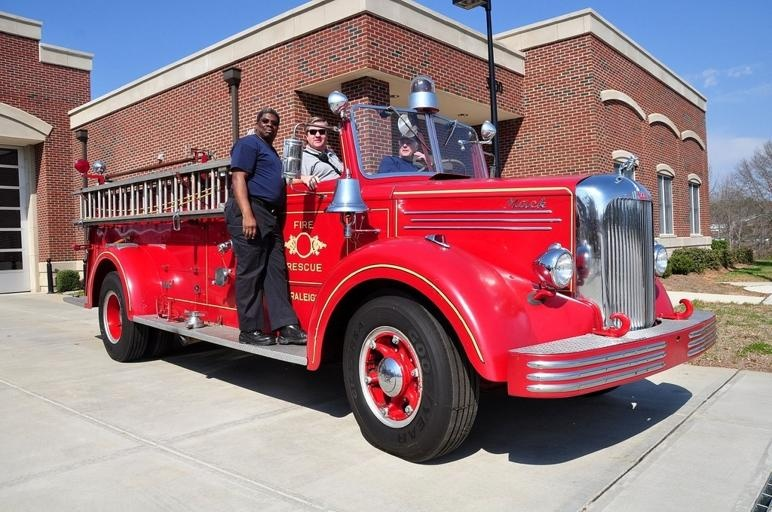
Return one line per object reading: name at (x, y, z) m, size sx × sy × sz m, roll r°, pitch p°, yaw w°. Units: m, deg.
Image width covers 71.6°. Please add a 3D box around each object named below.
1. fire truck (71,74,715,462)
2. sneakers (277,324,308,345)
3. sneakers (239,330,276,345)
fire truck at (-0.808, 0.200, 7.054) m, size 8.064 × 3.504 × 3.449 m, roll 0°, pitch 0°, yaw 44°
sneakers at (-1.005, 0.842, 5.718) m, size 0.369 × 0.188 × 0.159 m, roll -3°, pitch -4°, yaw 18°
sneakers at (-1.388, 0.865, 5.772) m, size 0.395 × 0.153 × 0.154 m, roll -3°, pitch -4°, yaw 21°
